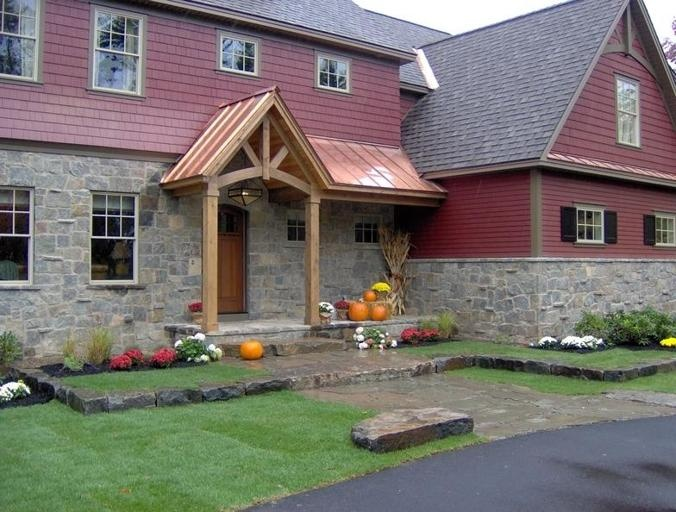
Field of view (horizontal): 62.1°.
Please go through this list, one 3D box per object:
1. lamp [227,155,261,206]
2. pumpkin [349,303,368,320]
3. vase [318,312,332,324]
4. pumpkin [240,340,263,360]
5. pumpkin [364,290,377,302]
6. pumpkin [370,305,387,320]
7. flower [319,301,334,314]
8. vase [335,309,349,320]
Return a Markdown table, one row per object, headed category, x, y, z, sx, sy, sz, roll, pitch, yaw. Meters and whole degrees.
| category | x | y | z | sx | sy | sz | roll | pitch | yaw |
| --- | --- | --- | --- | --- | --- | --- | --- | --- | --- |
| lamp | -2.266 | -1.662 | 14.031 | 0.757 | 0.752 | 0.731 | -3 | 4 | -43 |
| pumpkin | 0.505 | 1.365 | 14.248 | 0.475 | 0.425 | 0.460 | -1 | 3 | -20 |
| vase | -0.312 | 1.475 | 13.386 | 0.253 | 0.164 | 0.253 | -3 | -4 | 42 |
| pumpkin | -1.762 | 1.886 | 11.335 | 0.382 | 0.332 | 0.397 | -4 | -4 | 41 |
| pumpkin | 0.837 | 1.055 | 15.003 | 0.316 | 0.281 | 0.285 | 2 | 6 | 19 |
| pumpkin | 1.070 | 1.444 | 14.473 | 0.398 | 0.346 | 0.388 | -2 | -1 | 17 |
| flower | -0.310 | 1.232 | 13.530 | 0.301 | 0.147 | 0.284 | 0 | 5 | -14 |
| vase | 0.078 | 1.467 | 14.251 | 0.275 | 0.344 | 0.308 | -2 | -5 | 15 |
